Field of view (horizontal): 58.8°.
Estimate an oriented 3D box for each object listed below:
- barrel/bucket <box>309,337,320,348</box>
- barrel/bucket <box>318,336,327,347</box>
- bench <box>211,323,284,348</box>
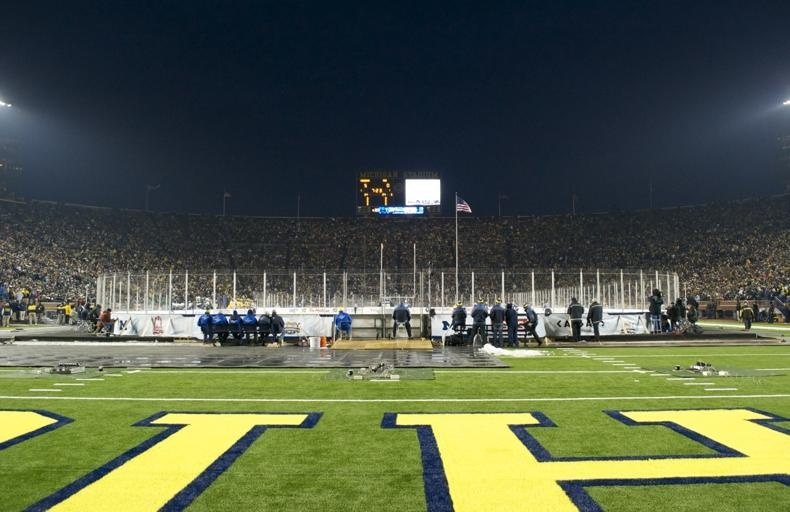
[{"bbox_3d":[-3.192,3.354,27.419,0.399,0.343,0.390,-1,-5,0],"label":"barrel/bucket"},{"bbox_3d":[-2.834,3.303,27.488,0.262,0.442,0.592,0,9,1],"label":"barrel/bucket"},{"bbox_3d":[-6.074,3.167,28.801,2.882,0.962,0.845,0,12,12],"label":"bench"}]
